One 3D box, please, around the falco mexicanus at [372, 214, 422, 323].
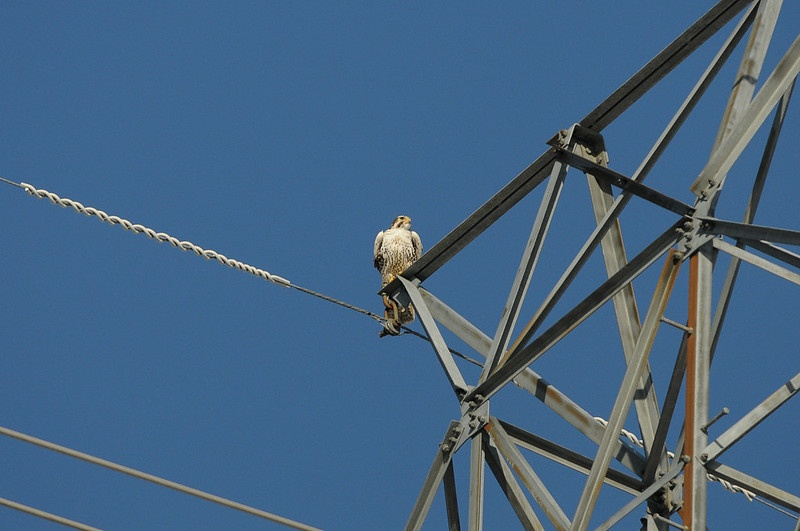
[{"bbox_3d":[-0.057,0.093,26.206,0.639,1.616,0.572,5,-29,-6],"label":"falco mexicanus"}]
